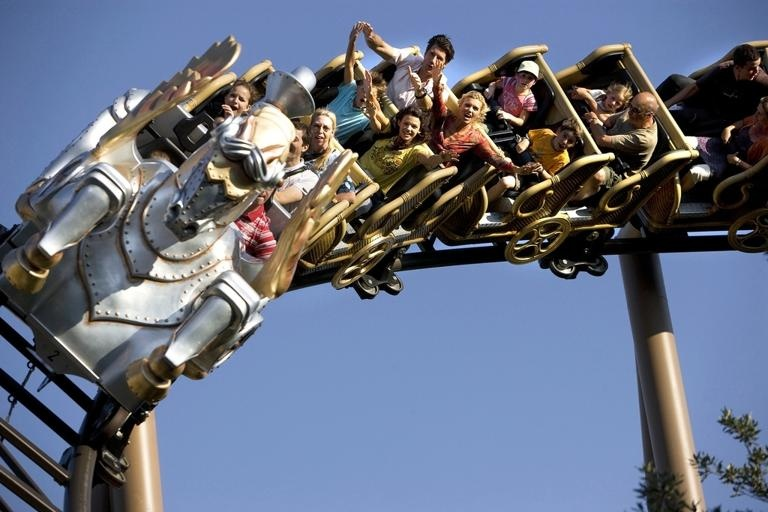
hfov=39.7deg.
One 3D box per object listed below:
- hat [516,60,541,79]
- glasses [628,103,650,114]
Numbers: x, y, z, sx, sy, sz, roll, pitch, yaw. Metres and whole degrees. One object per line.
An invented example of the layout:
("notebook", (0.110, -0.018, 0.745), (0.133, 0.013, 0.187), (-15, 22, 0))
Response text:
("hat", (1.419, -1.842, 10.357), (0.149, 0.120, 0.219), (16, -14, 7))
("glasses", (2.479, -1.432, 10.192), (0.201, 0.093, 0.097), (-1, -41, 10))
